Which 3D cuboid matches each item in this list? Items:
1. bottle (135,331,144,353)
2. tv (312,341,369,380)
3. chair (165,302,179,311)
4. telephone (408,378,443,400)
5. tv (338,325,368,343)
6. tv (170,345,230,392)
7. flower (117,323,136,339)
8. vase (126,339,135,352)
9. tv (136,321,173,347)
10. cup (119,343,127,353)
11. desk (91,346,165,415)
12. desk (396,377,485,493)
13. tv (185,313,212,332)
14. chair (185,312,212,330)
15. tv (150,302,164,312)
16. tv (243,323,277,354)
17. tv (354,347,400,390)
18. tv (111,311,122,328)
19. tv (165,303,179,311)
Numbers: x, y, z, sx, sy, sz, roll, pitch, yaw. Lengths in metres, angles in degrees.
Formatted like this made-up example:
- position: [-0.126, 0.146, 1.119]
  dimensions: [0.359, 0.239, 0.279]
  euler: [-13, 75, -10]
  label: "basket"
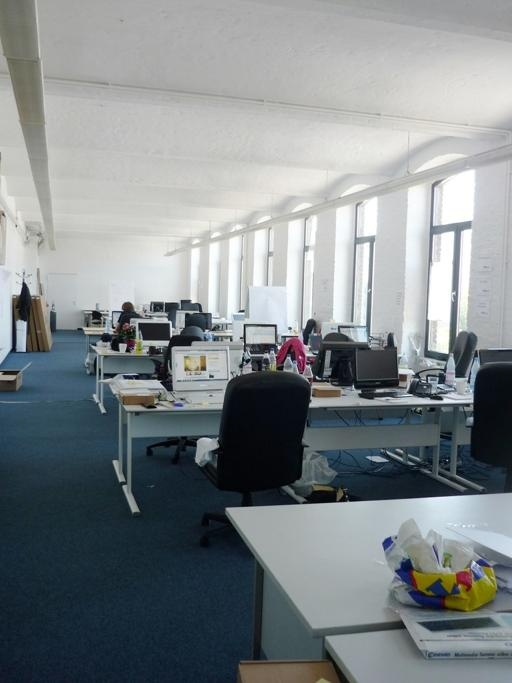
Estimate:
- position: [-1.420, 0.005, 6.562]
  dimensions: [0.083, 0.247, 0.436]
  euler: [-4, 7, -11]
  label: "bottle"
- position: [0.726, 0.157, 4.673]
  dimensions: [0.322, 0.318, 0.476]
  euler: [9, -6, -3]
  label: "tv"
- position: [-2.147, -0.908, 13.791]
  dimensions: [0.328, 0.256, 0.322]
  euler: [1, -3, -7]
  label: "chair"
- position: [1.277, 0.359, 4.192]
  dimensions: [0.320, 0.155, 0.108]
  euler: [3, 10, 14]
  label: "telephone"
- position: [1.101, -0.099, 6.180]
  dimensions: [0.310, 0.224, 0.212]
  euler: [1, 2, -13]
  label: "tv"
- position: [-0.401, 0.196, 3.831]
  dimensions: [0.341, 0.248, 0.048]
  euler: [0, -2, -21]
  label: "tv"
- position: [-1.570, -0.114, 6.632]
  dimensions: [0.216, 0.240, 0.231]
  euler: [1, 0, -7]
  label: "flower"
- position: [-1.493, 0.051, 6.461]
  dimensions: [0.112, 0.139, 0.095]
  euler: [-5, 7, -16]
  label: "vase"
- position: [-1.296, -0.092, 6.797]
  dimensions: [0.312, 0.278, 0.146]
  euler: [-3, 7, -31]
  label: "tv"
- position: [-1.564, 0.079, 6.389]
  dimensions: [0.076, 0.093, 0.094]
  euler: [3, -5, -16]
  label: "cup"
- position: [-1.462, 0.490, 6.812]
  dimensions: [0.872, 0.661, 0.748]
  euler: [3, -3, -26]
  label: "desk"
- position: [1.382, 0.771, 4.638]
  dimensions: [0.565, 0.601, 1.160]
  euler: [9, 0, -41]
  label: "desk"
- position: [-1.046, -0.351, 9.266]
  dimensions: [0.412, 0.251, 0.403]
  euler: [1, 0, -25]
  label: "tv"
- position: [-1.052, -0.361, 9.269]
  dimensions: [0.396, 0.265, 0.387]
  euler: [3, -1, -34]
  label: "chair"
- position: [-2.746, -0.929, 14.985]
  dimensions: [0.458, 0.317, 0.245]
  euler: [1, -3, -10]
  label: "tv"
- position: [0.034, -0.027, 6.280]
  dimensions: [0.344, 0.298, 0.108]
  euler: [0, 0, -21]
  label: "tv"
- position: [0.970, 0.225, 4.386]
  dimensions: [0.465, 0.363, 0.084]
  euler: [-6, 8, -26]
  label: "tv"
- position: [-2.268, -0.346, 8.829]
  dimensions: [0.051, 0.451, 0.332]
  euler: [7, -6, -34]
  label: "tv"
- position: [-2.132, -0.852, 13.748]
  dimensions: [0.348, 0.205, 1.345]
  euler: [-4, 7, -9]
  label: "tv"
